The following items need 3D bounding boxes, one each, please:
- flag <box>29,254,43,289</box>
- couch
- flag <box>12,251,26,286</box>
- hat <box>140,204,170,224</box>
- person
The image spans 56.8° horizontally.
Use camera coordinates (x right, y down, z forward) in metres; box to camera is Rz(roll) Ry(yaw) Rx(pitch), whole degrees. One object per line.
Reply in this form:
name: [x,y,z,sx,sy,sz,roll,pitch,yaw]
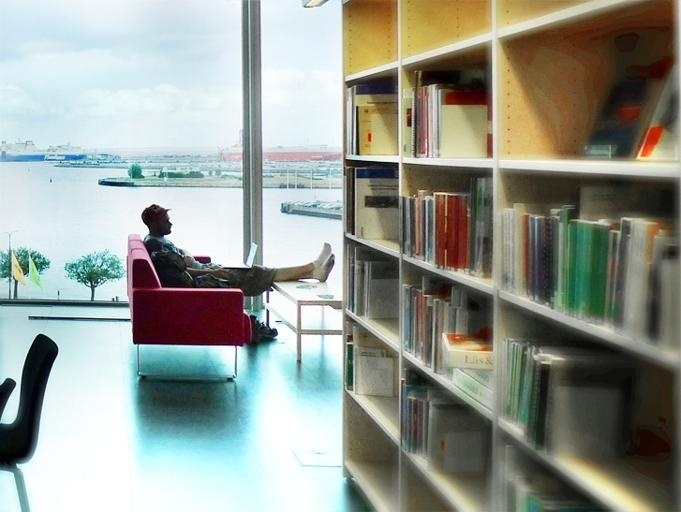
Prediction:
flag: [-4.013,0.210,8.268,0.142,0.354,0.290,-2,7,-27]
couch: [-1.390,0.262,6.279,0.989,1.030,2.111,1,16,-8]
flag: [-4.191,0.148,8.172,0.153,0.363,0.375,-3,7,-34]
hat: [-1.776,-0.397,6.048,0.218,0.188,0.189,0,6,-14]
person: [-1.064,-0.046,6.632,2.027,0.898,0.811,3,6,-13]
